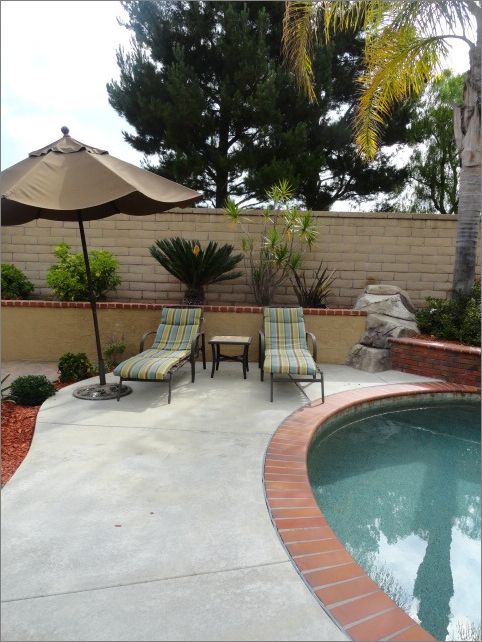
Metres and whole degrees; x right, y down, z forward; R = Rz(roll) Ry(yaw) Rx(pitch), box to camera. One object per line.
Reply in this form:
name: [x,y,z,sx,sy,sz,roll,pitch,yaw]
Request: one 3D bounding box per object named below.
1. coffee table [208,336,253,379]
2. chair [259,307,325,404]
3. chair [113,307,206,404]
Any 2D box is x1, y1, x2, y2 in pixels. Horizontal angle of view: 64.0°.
coffee table: [-0.151,0.557,5.975,0.649,0.606,0.665,2,5,6]
chair: [0.669,0.377,5.345,0.801,1.092,1.789,0,4,3]
chair: [-1.032,0.378,5.267,0.814,0.948,1.553,2,12,11]
